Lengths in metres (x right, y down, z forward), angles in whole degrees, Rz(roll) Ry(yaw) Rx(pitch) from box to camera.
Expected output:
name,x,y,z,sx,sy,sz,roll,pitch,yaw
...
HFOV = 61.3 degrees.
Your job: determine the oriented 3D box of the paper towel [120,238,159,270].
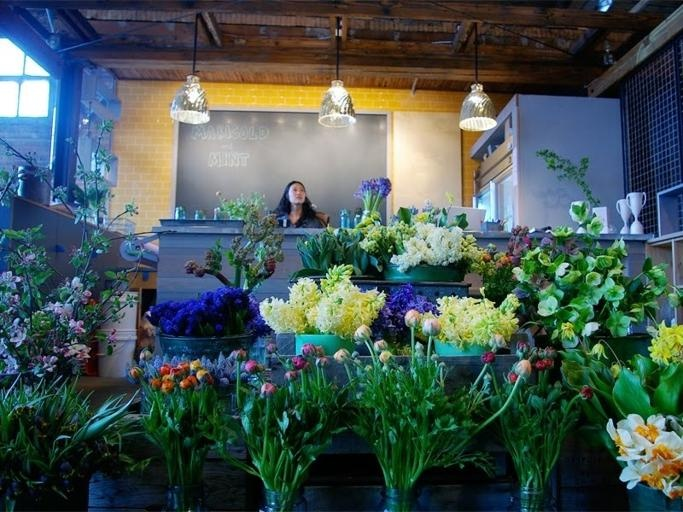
name,x,y,z,sx,sy,sz,roll,pitch,yaw
paper towel,-1.345,-0.019,3.870,0.194,0.046,0.191,13,34,0
